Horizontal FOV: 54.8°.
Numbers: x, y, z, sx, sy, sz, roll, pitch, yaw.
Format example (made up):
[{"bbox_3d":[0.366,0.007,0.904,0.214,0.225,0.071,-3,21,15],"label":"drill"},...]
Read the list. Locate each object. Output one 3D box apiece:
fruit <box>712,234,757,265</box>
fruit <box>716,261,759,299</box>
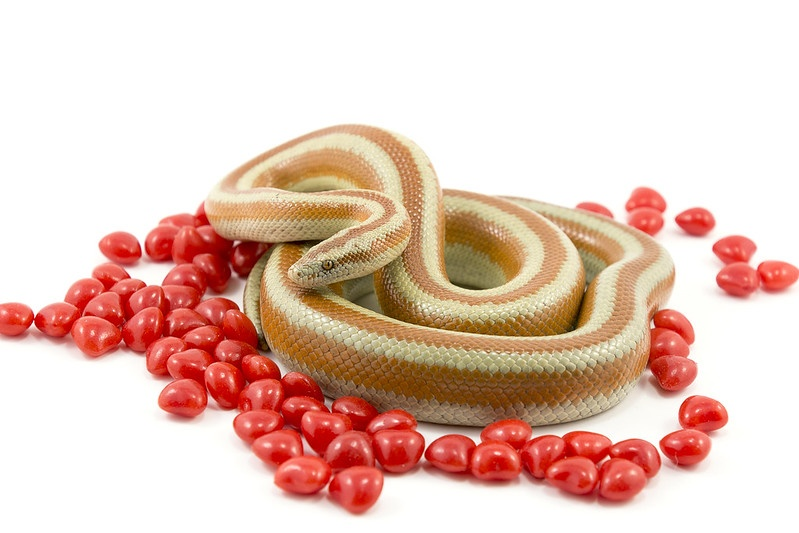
[{"bbox_3d":[2.674,-0.126,6.152,0.271,0.273,0.160,25,-48,34],"label":"fruit"},{"bbox_3d":[2.747,0.101,6.190,0.385,0.300,0.237,-3,-64,23],"label":"fruit"}]
